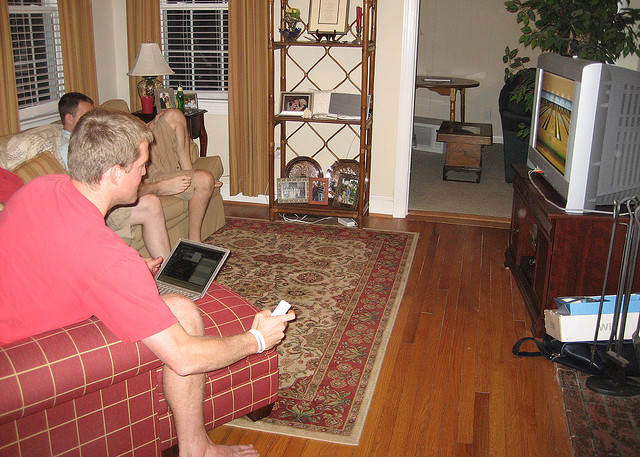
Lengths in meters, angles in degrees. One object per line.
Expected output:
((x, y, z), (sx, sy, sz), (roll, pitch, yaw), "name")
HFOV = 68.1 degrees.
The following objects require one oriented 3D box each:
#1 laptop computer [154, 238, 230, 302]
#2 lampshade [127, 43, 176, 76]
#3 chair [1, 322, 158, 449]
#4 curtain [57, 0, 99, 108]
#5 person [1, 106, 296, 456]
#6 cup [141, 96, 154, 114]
((-0.616, 0.184, 2.392), (0.316, 0.314, 0.197), (17, -7, 13), "laptop computer")
((-1.620, -1.635, 4.573), (0.496, 0.343, 0.486), (-17, 26, -40), "lampshade")
((-0.864, 0.539, 1.663), (0.429, 0.417, 0.237), (-7, 33, -16), "chair")
((-2.254, -1.648, 4.437), (0.216, 0.952, 0.545), (3, 16, 11), "curtain")
((-0.692, 0.060, 1.679), (0.885, 0.917, 0.422), (2, 16, 8), "person")
((-1.648, -1.187, 4.544), (0.150, 0.170, 0.154), (1, 19, 0), "cup")
